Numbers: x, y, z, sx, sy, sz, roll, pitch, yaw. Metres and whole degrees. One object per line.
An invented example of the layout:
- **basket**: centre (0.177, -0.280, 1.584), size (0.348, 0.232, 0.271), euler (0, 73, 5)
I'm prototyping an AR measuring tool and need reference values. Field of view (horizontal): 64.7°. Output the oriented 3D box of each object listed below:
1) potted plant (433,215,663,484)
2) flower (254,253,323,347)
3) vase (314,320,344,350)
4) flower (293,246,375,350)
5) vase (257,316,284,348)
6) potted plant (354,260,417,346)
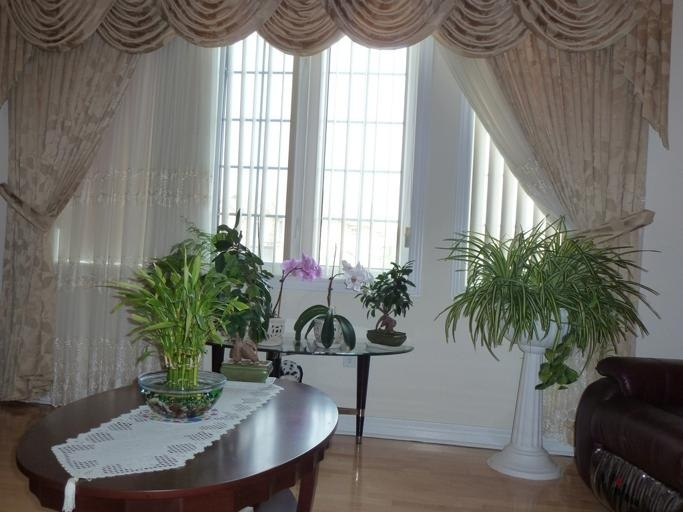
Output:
- **potted plant**: centre (1.255, 0.549, 3.457), size (1.105, 1.655, 1.076), euler (4, -3, -2)
- **flower**: centre (-0.256, 0.278, 3.678), size (0.491, 0.837, 0.365), euler (2, -4, 17)
- **vase**: centre (-0.086, 0.485, 3.412), size (0.151, 0.150, 0.186), euler (0, 7, -4)
- **flower**: centre (-0.017, 0.333, 3.674), size (0.490, 0.758, 0.472), euler (-2, -4, 29)
- **vase**: centre (-0.433, 0.463, 3.338), size (0.145, 0.128, 0.157), euler (0, 4, -11)
- **potted plant**: centre (0.306, 0.325, 3.584), size (0.283, 0.536, 0.396), euler (3, 1, -43)
